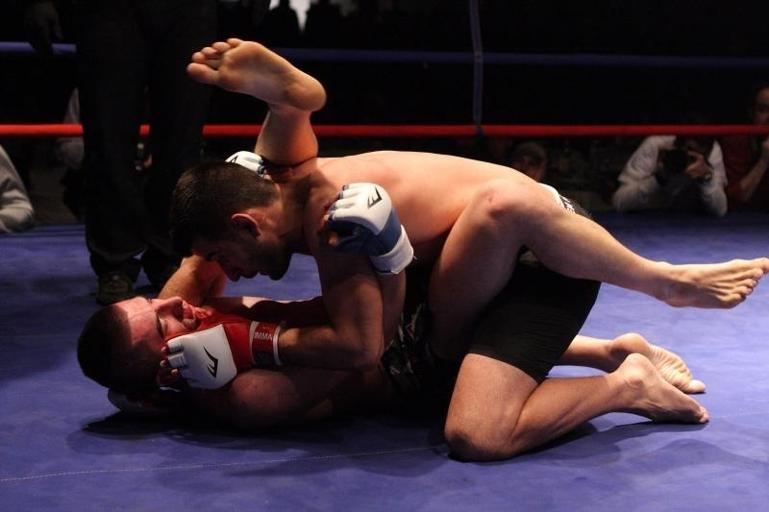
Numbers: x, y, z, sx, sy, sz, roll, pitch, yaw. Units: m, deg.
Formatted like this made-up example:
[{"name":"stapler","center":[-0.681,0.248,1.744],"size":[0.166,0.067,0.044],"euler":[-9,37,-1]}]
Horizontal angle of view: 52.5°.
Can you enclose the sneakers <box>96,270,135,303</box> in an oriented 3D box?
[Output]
[{"name":"sneakers","center":[-1.257,0.149,3.640],"size":[0.186,0.131,0.178],"euler":[1,-9,-19]}]

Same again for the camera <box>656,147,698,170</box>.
[{"name":"camera","center":[2.090,-0.687,5.609],"size":[0.164,0.070,0.226],"euler":[29,-25,-38]}]

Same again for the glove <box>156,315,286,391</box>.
[{"name":"glove","center":[-0.522,0.326,2.569],"size":[0.340,0.125,0.244],"euler":[-3,0,40]}]

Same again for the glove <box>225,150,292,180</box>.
[{"name":"glove","center":[-0.442,-0.324,2.726],"size":[0.175,0.059,0.113],"euler":[17,11,-19]}]

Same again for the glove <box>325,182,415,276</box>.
[{"name":"glove","center":[-0.063,-0.083,2.530],"size":[0.230,0.227,0.236],"euler":[16,53,37]}]
